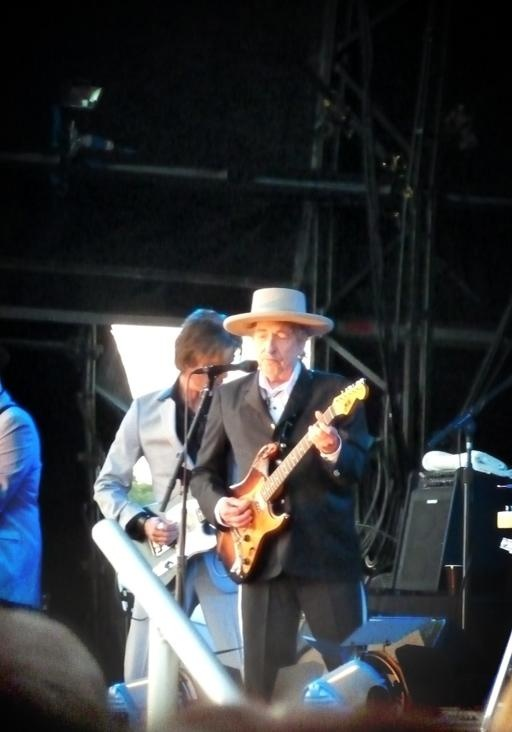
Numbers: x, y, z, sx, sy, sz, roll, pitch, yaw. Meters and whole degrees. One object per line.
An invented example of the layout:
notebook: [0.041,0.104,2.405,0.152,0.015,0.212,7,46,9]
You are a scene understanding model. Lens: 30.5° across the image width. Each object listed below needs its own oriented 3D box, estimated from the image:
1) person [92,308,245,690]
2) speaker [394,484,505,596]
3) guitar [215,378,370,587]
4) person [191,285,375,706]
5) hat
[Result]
person: [-0.282,0.700,3.540,0.540,1.725,0.380,-1,5,0]
speaker: [0.732,0.640,3.670,0.373,0.477,0.601,3,9,12]
guitar: [0.104,0.333,2.782,0.089,0.679,0.257,14,25,-43]
person: [0.103,0.337,2.859,0.426,1.188,0.730,2,0,-26]
hat: [0.075,-0.190,3.192,0.363,0.155,0.415,1,-8,-2]
